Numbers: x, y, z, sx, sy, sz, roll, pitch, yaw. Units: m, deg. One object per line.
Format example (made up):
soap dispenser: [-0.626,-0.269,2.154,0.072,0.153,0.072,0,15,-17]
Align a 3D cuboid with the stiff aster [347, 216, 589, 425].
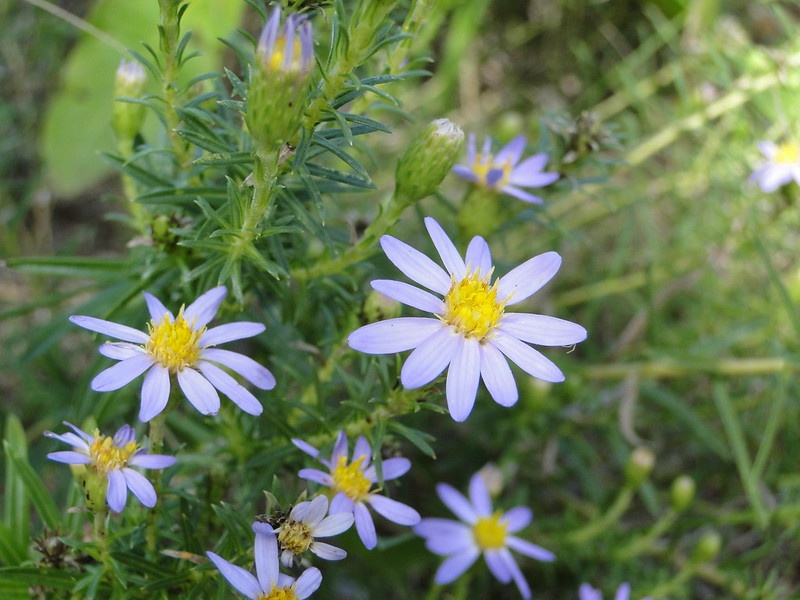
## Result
stiff aster: [0.159,0.066,1.617,0.469,0.162,0.505,8,30,20]

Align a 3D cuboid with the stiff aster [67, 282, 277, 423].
stiff aster: [-0.404,0.058,1.521,0.299,0.127,0.303,-22,57,-42]

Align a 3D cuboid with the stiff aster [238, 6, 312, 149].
stiff aster: [-0.222,-0.425,1.485,0.117,0.234,0.214,8,54,-10]

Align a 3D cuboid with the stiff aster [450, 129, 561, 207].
stiff aster: [0.238,-0.322,2.110,0.210,0.242,0.097,-10,89,14]

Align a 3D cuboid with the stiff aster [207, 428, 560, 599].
stiff aster: [0.012,0.511,1.744,0.541,0.137,0.407,23,51,-25]
